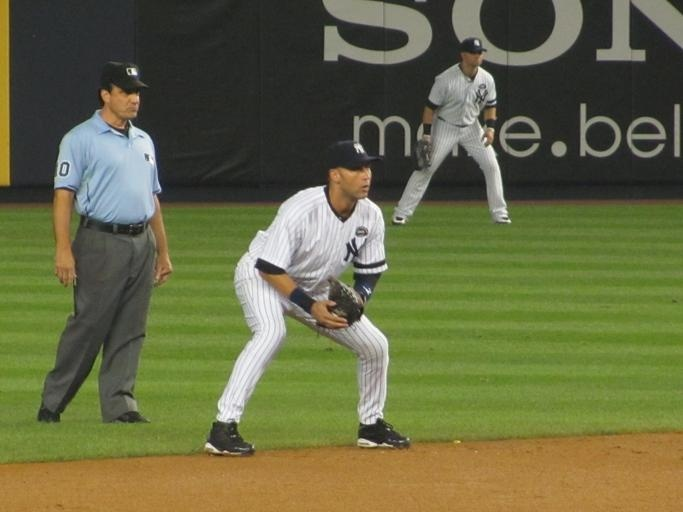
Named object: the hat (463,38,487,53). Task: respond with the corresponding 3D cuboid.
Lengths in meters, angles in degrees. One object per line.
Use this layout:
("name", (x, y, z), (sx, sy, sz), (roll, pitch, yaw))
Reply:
("hat", (1.477, -2.354, 15.678), (0.194, 0.145, 0.262), (-6, 9, -33))

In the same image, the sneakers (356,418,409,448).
("sneakers", (0.284, 1.283, 10.023), (0.406, 0.186, 0.162), (2, -1, 2))

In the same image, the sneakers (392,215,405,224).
("sneakers", (0.679, -0.401, 16.242), (0.099, 0.110, 0.086), (-38, -39, 26))

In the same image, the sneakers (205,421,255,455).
("sneakers", (-0.792, 1.275, 9.725), (0.387, 0.198, 0.173), (3, 1, 15))

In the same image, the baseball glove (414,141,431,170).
("baseball glove", (0.946, -1.161, 15.905), (0.177, 0.325, 0.261), (1, 15, 3))

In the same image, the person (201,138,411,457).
("person", (-0.189, 0.318, 9.805), (1.357, 2.181, 0.725), (-1, 15, -5))

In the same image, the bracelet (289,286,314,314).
("bracelet", (-0.270, 0.307, 9.609), (0.200, 0.126, 0.090), (42, -1, 2))

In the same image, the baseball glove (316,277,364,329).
("baseball glove", (-0.008, 0.341, 9.816), (0.271, 0.331, 0.091), (-33, -8, -23))

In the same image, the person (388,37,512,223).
("person", (1.299, -1.380, 16.034), (1.313, 2.218, 0.686), (2, 15, 5))

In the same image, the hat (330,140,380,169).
("hat", (0.088, -0.704, 9.719), (0.284, 0.131, 0.195), (1, 10, 24))

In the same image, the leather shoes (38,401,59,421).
("leather shoes", (-2.156, 1.167, 10.361), (0.146, 0.139, 0.101), (4, -1, 9))

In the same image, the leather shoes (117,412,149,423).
("leather shoes", (-1.524, 1.186, 10.314), (0.242, 0.095, 0.080), (-1, 8, -1))

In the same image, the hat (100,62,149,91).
("hat", (-1.578, -1.307, 10.172), (0.291, 0.152, 0.210), (3, 8, 29))

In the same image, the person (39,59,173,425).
("person", (-1.745, -0.050, 10.203), (1.054, 2.618, 0.664), (-6, 17, -21))
